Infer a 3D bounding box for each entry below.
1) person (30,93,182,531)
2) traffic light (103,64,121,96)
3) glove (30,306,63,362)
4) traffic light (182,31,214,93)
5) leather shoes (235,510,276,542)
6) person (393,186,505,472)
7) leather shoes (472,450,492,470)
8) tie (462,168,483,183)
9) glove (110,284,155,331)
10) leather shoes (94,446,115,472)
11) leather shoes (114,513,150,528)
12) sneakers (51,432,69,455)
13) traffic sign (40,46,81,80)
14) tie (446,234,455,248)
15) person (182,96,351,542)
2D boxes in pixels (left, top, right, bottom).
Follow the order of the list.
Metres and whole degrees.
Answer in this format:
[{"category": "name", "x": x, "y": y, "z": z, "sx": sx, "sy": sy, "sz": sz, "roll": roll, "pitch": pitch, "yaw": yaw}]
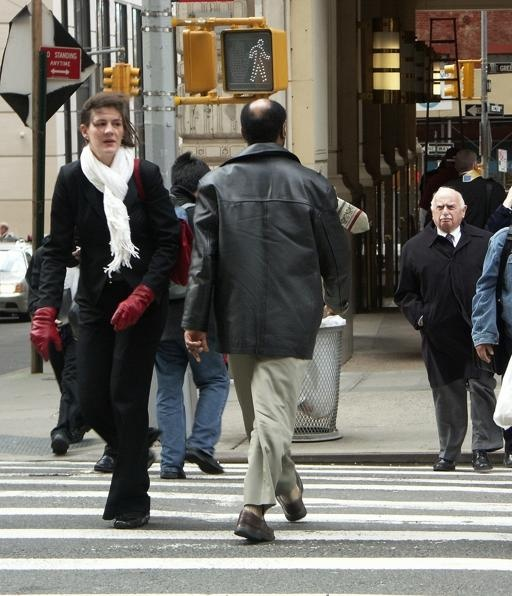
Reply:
[{"category": "person", "x": -0.668, "y": 0.069, "z": 5.040, "sx": 0.595, "sy": 1.911, "sz": 0.535, "roll": 0, "pitch": 6, "yaw": 12}, {"category": "traffic light", "x": -1.202, "y": -1.804, "z": 9.462, "sx": 0.112, "sy": 0.232, "sz": 0.396, "roll": -2, "pitch": 6, "yaw": -6}, {"category": "glove", "x": -0.916, "y": 0.158, "z": 4.951, "sx": 0.066, "sy": 0.211, "sz": 0.160, "roll": -9, "pitch": -12, "yaw": 9}, {"category": "traffic light", "x": -0.472, "y": -1.950, "z": 9.508, "sx": 0.268, "sy": 0.498, "sz": 0.184, "roll": -1, "pitch": 6, "yaw": 3}, {"category": "leather shoes", "x": -0.013, "y": 0.927, "z": 4.703, "sx": 0.088, "sy": 0.102, "sz": 0.220, "roll": 0, "pitch": -10, "yaw": 29}, {"category": "person", "x": 1.268, "y": 0.222, "z": 7.325, "sx": 0.414, "sy": 1.823, "sz": 0.790, "roll": -5, "pitch": 7, "yaw": -34}, {"category": "leather shoes", "x": 1.421, "y": 1.019, "z": 7.273, "sx": 0.116, "sy": 0.133, "sz": 0.188, "roll": 0, "pitch": 6, "yaw": 10}, {"category": "tie", "x": 1.998, "y": -1.141, "z": 10.766, "sx": 0.130, "sy": 0.138, "sz": 0.164, "roll": -2, "pitch": -10, "yaw": 12}, {"category": "glove", "x": -0.493, "y": 0.026, "z": 4.887, "sx": 0.103, "sy": 0.087, "sz": 0.302, "roll": -37, "pitch": 11, "yaw": 35}, {"category": "leather shoes", "x": -0.950, "y": 1.035, "z": 7.311, "sx": 0.112, "sy": 0.130, "sz": 0.297, "roll": 1, "pitch": -5, "yaw": 1}, {"category": "leather shoes", "x": -0.546, "y": 0.965, "z": 5.034, "sx": 0.175, "sy": 0.076, "sz": 0.061, "roll": 4, "pitch": 2, "yaw": -18}, {"category": "sneakers", "x": -1.371, "y": 1.010, "z": 8.021, "sx": 0.076, "sy": 0.197, "sz": 0.091, "roll": 3, "pitch": 38, "yaw": -3}, {"category": "traffic sign", "x": -2.145, "y": -2.566, "z": 12.614, "sx": 0.386, "sy": 0.312, "sz": 0.052, "roll": 2, "pitch": 11, "yaw": 11}, {"category": "tie", "x": 1.234, "y": -0.365, "z": 7.337, "sx": 0.052, "sy": 0.068, "sz": 0.020, "roll": -14, "pitch": -7, "yaw": -14}, {"category": "person", "x": 0.089, "y": 0.171, "z": 4.868, "sx": 0.743, "sy": 1.642, "sz": 0.562, "roll": -4, "pitch": 6, "yaw": -23}]
